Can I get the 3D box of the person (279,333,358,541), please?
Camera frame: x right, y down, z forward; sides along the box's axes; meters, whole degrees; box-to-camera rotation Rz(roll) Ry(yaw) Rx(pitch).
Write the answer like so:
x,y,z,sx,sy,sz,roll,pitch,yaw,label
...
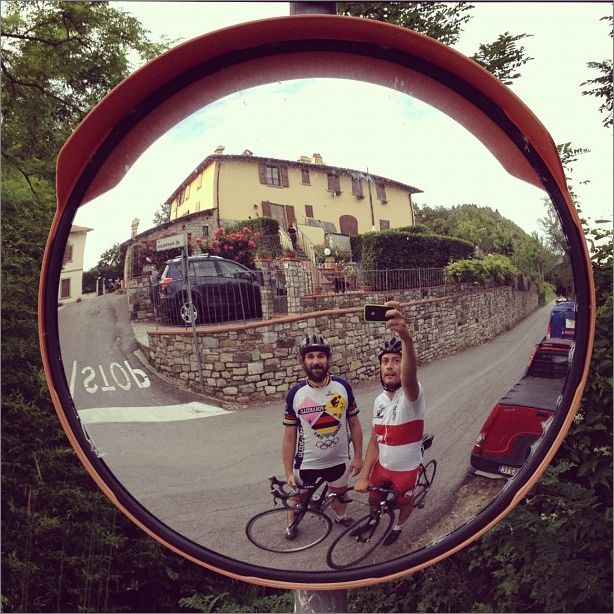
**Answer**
x,y,z,sx,sy,sz,roll,pitch,yaw,label
0.058,0.477,1.816,0.274,0.779,0.218,-5,13,-10,person
